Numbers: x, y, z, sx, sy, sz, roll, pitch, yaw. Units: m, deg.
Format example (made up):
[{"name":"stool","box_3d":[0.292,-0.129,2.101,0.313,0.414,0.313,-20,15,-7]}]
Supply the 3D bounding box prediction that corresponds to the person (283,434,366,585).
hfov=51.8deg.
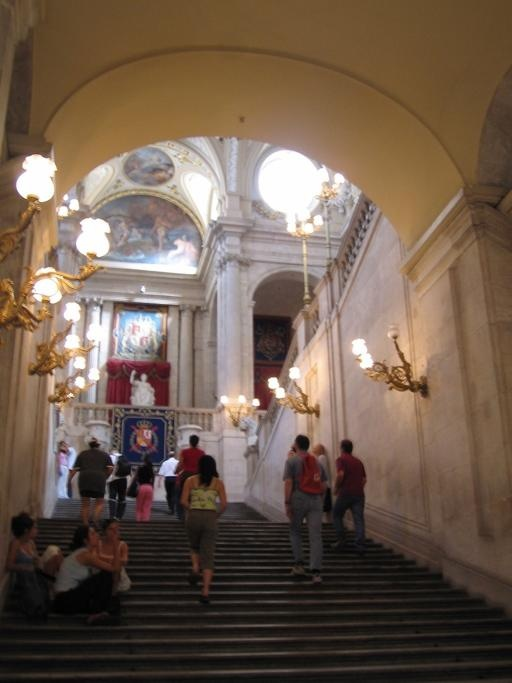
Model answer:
[{"name":"person","box_3d":[0.473,1.548,5.108,0.408,1.286,1.155,0,-13,6]}]

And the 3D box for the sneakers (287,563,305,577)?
[{"name":"sneakers","box_3d":[0.373,2.052,4.759,0.081,0.099,0.220,3,-16,-7]}]

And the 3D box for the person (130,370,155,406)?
[{"name":"person","box_3d":[-5.304,2.097,24.685,1.184,1.624,0.960,6,-14,-18]}]

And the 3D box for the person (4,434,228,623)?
[{"name":"person","box_3d":[-0.951,1.533,4.399,0.715,1.335,2.269,-5,-9,28]}]

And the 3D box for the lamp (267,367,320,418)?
[{"name":"lamp","box_3d":[0.802,1.105,10.011,0.916,0.885,0.813,-3,7,20]}]

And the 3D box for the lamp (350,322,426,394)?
[{"name":"lamp","box_3d":[1.586,0.233,5.889,0.525,0.824,0.881,1,-13,-39]}]

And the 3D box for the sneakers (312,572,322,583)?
[{"name":"sneakers","box_3d":[0.512,1.994,4.485,0.054,0.055,0.132,1,-11,0]}]

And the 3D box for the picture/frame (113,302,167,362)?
[{"name":"picture/frame","box_3d":[-5.837,-0.442,26.116,2.865,3.209,0.349,5,-24,-16]}]

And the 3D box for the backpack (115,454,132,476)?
[{"name":"backpack","box_3d":[-2.280,2.051,8.811,0.264,0.359,0.371,6,-3,-16]}]

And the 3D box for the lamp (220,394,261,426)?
[{"name":"lamp","box_3d":[-0.519,2.453,19.502,1.881,1.377,0.955,4,-28,-15]}]
